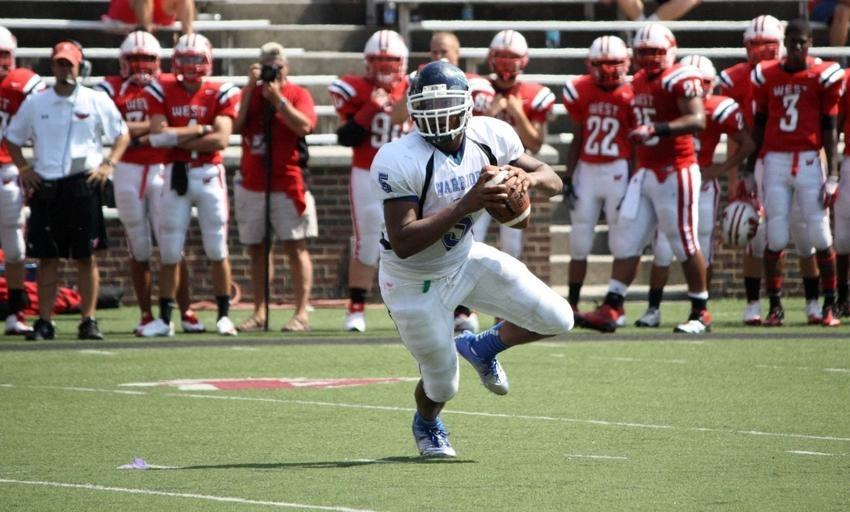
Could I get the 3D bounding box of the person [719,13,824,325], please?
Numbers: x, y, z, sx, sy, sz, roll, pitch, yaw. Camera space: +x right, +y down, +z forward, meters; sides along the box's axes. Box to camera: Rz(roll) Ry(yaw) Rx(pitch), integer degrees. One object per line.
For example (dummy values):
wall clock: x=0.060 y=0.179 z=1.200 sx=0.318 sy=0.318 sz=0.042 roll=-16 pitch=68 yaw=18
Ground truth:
person: x=3.612 y=-0.811 z=16.114 sx=1.121 sy=3.088 sz=1.018 roll=4 pitch=9 yaw=32

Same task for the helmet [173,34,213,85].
helmet: x=-2.213 y=-1.917 z=15.521 sx=0.365 sy=0.419 sz=0.465 roll=0 pitch=0 yaw=-3

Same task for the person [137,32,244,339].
person: x=-2.279 y=-0.691 z=15.471 sx=1.052 sy=2.907 sz=0.771 roll=0 pitch=-1 yaw=-10

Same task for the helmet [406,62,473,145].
helmet: x=0.127 y=-1.200 z=12.408 sx=0.498 sy=0.565 sz=0.673 roll=-5 pitch=8 yaw=3

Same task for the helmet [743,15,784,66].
helmet: x=3.470 y=-2.245 z=16.436 sx=0.433 sy=0.419 sz=0.500 roll=-3 pitch=2 yaw=15

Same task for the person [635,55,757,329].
person: x=2.726 y=-0.602 z=15.967 sx=1.314 sy=2.569 sz=1.029 roll=2 pitch=3 yaw=19

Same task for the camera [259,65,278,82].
camera: x=-1.488 y=-1.784 z=15.465 sx=0.184 sy=0.142 sz=0.134 roll=-17 pitch=11 yaw=3

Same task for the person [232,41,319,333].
person: x=-1.472 y=-0.673 z=15.829 sx=0.824 sy=2.861 sz=0.593 roll=-2 pitch=13 yaw=-5

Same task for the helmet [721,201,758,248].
helmet: x=3.143 y=-0.338 z=15.871 sx=0.352 sy=0.438 sz=0.381 roll=7 pitch=15 yaw=13

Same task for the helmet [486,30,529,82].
helmet: x=0.834 y=-2.000 z=15.670 sx=0.380 sy=0.426 sz=0.503 roll=3 pitch=6 yaw=0

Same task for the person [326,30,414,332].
person: x=-0.369 y=-0.760 z=15.658 sx=1.123 sy=2.890 sz=0.927 roll=-3 pitch=4 yaw=-21

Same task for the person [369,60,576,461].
person: x=0.310 y=0.007 z=12.326 sx=1.390 sy=2.959 sz=0.866 roll=-2 pitch=13 yaw=-5

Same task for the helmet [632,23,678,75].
helmet: x=2.225 y=-2.029 z=15.473 sx=0.393 sy=0.457 sz=0.277 roll=1 pitch=13 yaw=6

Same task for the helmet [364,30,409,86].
helmet: x=-0.361 y=-1.919 z=15.408 sx=0.409 sy=0.435 sz=0.540 roll=-2 pitch=10 yaw=-5

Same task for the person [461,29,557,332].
person: x=0.697 y=-0.599 z=16.098 sx=1.261 sy=3.434 sz=1.100 roll=1 pitch=0 yaw=12

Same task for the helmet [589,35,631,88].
helmet: x=1.833 y=-1.940 z=15.924 sx=0.391 sy=0.427 sz=0.504 roll=-1 pitch=6 yaw=11

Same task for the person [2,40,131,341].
person: x=-3.448 y=-0.652 z=15.539 sx=1.137 sy=2.898 sz=1.130 roll=-2 pitch=4 yaw=-26
